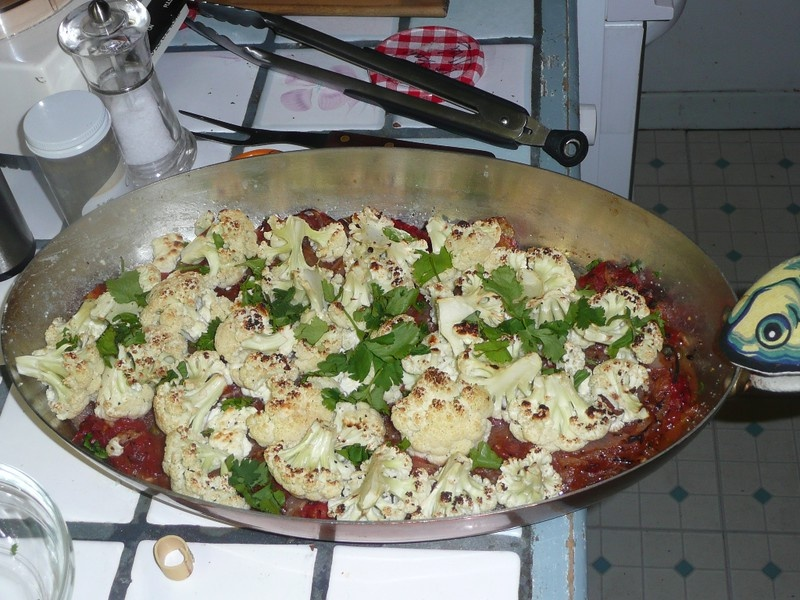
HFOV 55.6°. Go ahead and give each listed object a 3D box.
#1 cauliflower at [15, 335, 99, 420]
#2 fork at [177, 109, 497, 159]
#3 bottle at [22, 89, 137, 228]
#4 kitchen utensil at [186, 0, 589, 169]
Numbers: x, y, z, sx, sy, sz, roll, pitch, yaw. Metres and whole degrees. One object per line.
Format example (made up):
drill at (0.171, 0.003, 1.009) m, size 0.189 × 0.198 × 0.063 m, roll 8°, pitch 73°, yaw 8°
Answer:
cauliflower at (-0.686, 0.155, 1.564) m, size 0.151 × 0.084 × 0.173 m, roll -29°, pitch 71°, yaw -29°
fork at (-0.147, -0.426, 1.960) m, size 0.718 × 0.035 × 0.106 m, roll 11°, pitch 59°, yaw 13°
bottle at (-0.772, -0.323, 1.828) m, size 0.188 × 0.288 × 0.187 m, roll 3°, pitch 48°, yaw -3°
kitchen utensil at (-0.035, -0.579, 2.067) m, size 1.261 × 0.096 × 0.183 m, roll 22°, pitch 61°, yaw 13°
